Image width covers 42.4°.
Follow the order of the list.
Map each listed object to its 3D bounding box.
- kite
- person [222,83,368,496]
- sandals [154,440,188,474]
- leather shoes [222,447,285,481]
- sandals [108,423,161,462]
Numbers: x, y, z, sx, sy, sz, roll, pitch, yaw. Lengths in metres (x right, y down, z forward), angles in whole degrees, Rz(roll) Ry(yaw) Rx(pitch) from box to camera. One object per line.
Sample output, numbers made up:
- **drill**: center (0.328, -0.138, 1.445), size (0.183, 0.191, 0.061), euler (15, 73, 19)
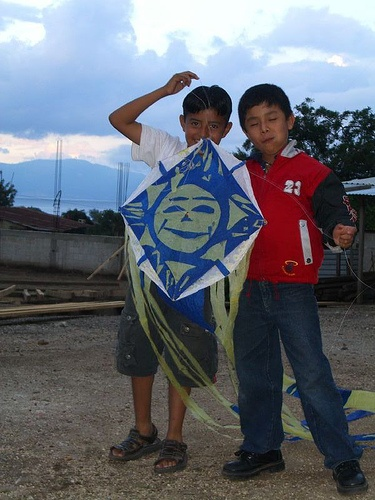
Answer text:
- **kite**: center (0.285, 0.081, 2.242), size (1.260, 1.120, 0.951), euler (-1, 1, 37)
- **person**: center (0.427, 0.236, 1.804), size (0.553, 1.288, 0.283), euler (3, 5, 32)
- **sandals**: center (-0.065, 0.815, 1.985), size (0.108, 0.069, 0.220), euler (5, 13, 7)
- **leather shoes**: center (0.261, 0.853, 1.936), size (0.229, 0.096, 0.096), euler (3, -10, -13)
- **sandals**: center (-0.221, 0.839, 2.114), size (0.096, 0.095, 0.265), euler (-6, -4, 42)
